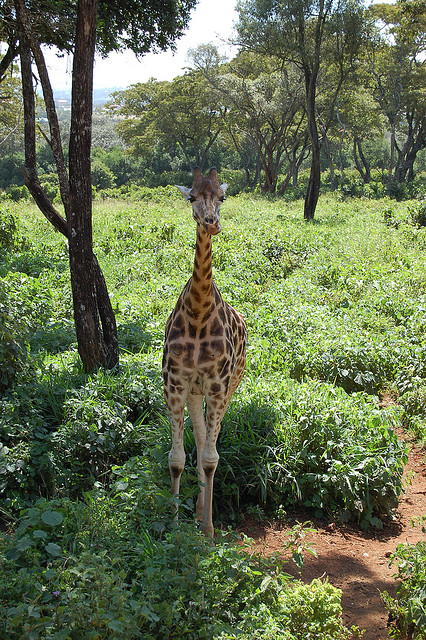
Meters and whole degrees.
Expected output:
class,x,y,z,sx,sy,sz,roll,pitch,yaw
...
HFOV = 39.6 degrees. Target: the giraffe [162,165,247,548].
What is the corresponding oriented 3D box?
class,x,y,z,sx,sy,sz,roll,pitch,yaw
giraffe,-0.085,0.332,4.320,0.571,2.762,1.284,1,7,0
